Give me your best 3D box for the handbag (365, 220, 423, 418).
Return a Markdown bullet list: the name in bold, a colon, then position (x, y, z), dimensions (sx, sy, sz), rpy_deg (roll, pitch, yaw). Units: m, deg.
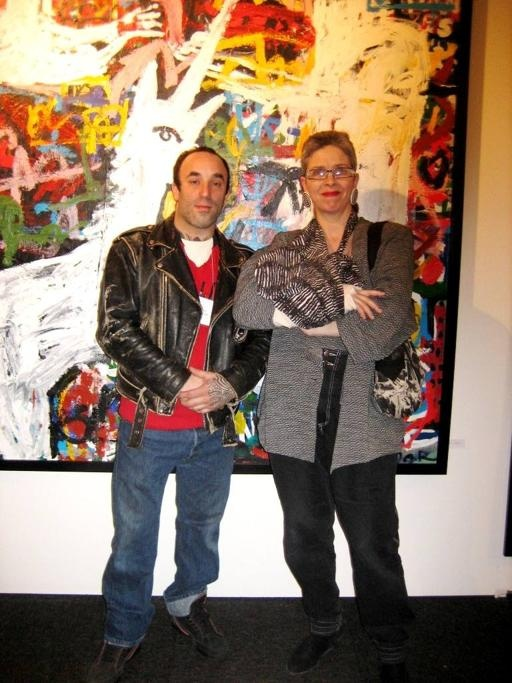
- **handbag**: position (0.463, -0.061, 1.874), dimensions (0.207, 0.622, 0.413), rpy_deg (3, 21, 9)
